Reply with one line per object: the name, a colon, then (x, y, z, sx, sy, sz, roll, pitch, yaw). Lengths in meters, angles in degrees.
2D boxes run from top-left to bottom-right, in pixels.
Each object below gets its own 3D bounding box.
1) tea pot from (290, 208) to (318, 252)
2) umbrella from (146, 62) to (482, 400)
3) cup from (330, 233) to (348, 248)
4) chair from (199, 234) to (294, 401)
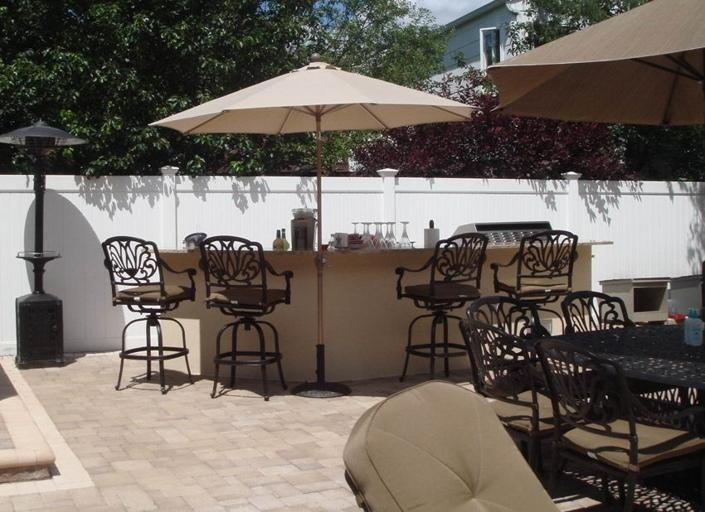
tea pot: (-0.500, -0.274, 7.808, 0.282, 0.452, 0.289, 0, 4, 0)
umbrella: (-0.247, -0.475, 8.251, 3.321, 3.166, 3.306, 0, 5, 4)
cup: (-0.118, -0.163, 7.770, 0.143, 0.148, 0.155, 1, -3, 0)
chair: (-1.070, 0.536, 7.493, 1.062, 1.603, 0.914, 3, 10, 21)
